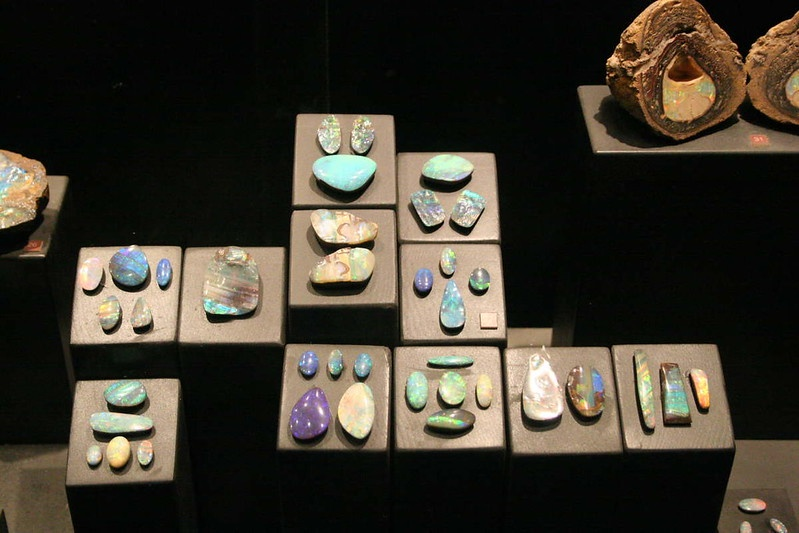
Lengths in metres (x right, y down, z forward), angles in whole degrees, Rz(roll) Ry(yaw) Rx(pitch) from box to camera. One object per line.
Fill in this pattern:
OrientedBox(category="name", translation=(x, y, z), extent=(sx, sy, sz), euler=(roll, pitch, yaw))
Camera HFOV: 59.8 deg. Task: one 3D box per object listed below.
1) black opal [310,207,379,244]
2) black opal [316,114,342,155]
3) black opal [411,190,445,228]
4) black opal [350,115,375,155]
OrientedBox(category="black opal", translation=(-0.204, -0.146, 2.488), extent=(0.203, 0.062, 0.124), euler=(3, 65, -5))
OrientedBox(category="black opal", translation=(-0.271, -0.508, 2.676), extent=(0.077, 0.037, 0.159), euler=(0, 59, -5))
OrientedBox(category="black opal", translation=(0.108, -0.220, 2.607), extent=(0.089, 0.036, 0.154), euler=(-23, 71, -13))
OrientedBox(category="black opal", translation=(-0.142, -0.509, 2.685), extent=(0.078, 0.047, 0.149), euler=(10, 66, 3))
